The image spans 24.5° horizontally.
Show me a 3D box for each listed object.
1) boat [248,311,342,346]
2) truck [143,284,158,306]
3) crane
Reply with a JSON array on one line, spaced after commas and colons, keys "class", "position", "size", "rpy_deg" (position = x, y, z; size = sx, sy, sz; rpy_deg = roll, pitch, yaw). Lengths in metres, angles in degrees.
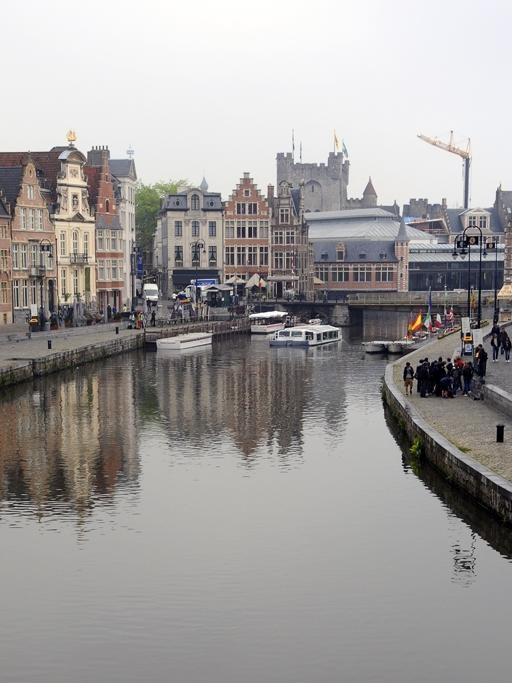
[{"class": "boat", "position": [3.499, -1.503, 112.445], "size": [8.027, 1.996, 34.948], "rpy_deg": [-1, 6, -2]}, {"class": "truck", "position": [-10.980, -5.086, 123.509], "size": [1.165, 2.088, 3.978], "rpy_deg": [-3, 1, -6]}, {"class": "crane", "position": [35.175, -32.280, 218.380], "size": [10.361, 15.591, 2.438], "rpy_deg": [16, 45, 24]}]
